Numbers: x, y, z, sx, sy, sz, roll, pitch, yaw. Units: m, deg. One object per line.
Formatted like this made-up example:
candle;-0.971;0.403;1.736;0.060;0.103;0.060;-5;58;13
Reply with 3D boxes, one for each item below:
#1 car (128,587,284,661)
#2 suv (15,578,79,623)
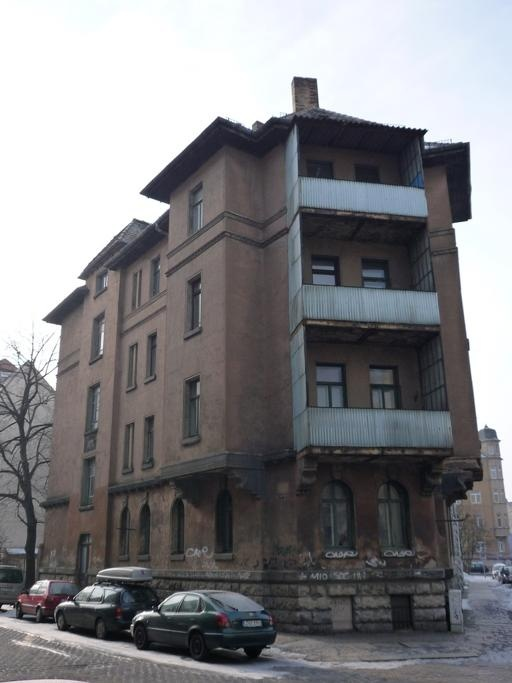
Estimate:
car;-1.262;5.732;11.105;1.314;1.128;4.091;13;-28;-35
suv;-7.489;9.130;19.451;1.602;1.583;2.860;23;-42;-29
